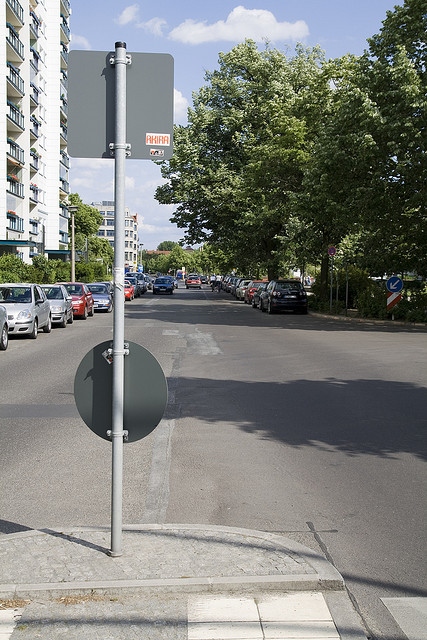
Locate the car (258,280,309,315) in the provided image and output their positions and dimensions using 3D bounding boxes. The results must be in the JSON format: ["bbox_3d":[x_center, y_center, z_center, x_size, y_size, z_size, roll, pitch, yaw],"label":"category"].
[{"bbox_3d":[3.759,-1.253,35.117,2.100,1.848,3.350,1,5,-3],"label":"car"}]

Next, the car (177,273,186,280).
[{"bbox_3d":[-8.706,-11.364,171.545,1.600,1.494,1.094,-2,10,-6],"label":"car"}]

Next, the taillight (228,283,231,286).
[{"bbox_3d":[1.760,-3.951,73.252,0.256,0.433,0.269,-1,2,23],"label":"taillight"}]

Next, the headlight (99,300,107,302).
[{"bbox_3d":[-5.850,-1.015,34.957,0.353,0.099,0.103,-2,6,-28],"label":"headlight"}]

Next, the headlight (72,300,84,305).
[{"bbox_3d":[-5.987,-0.788,29.084,0.427,0.186,0.284,1,5,-1],"label":"headlight"}]

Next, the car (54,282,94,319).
[{"bbox_3d":[-6.215,-0.900,30.073,1.031,0.969,2.189,-1,-2,-1],"label":"car"}]

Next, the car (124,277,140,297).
[{"bbox_3d":[-7.060,-2.973,56.689,1.221,1.041,2.069,0,-2,-1],"label":"car"}]

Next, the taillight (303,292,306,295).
[{"bbox_3d":[4.771,-1.401,34.531,0.105,0.125,0.117,2,-5,-2],"label":"taillight"}]

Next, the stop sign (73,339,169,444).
[{"bbox_3d":[-0.458,0.351,3.387,0.479,0.504,0.118,-2,5,5],"label":"stop sign"}]

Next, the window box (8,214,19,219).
[{"bbox_3d":[-15.922,-8.222,52.176,0.812,0.224,0.812,3,-1,8],"label":"window box"}]

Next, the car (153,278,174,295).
[{"bbox_3d":[-5.042,-3.374,65.691,1.829,1.592,2.530,0,5,-5],"label":"car"}]

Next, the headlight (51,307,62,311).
[{"bbox_3d":[-5.581,-0.388,23.454,0.409,0.115,0.151,-2,6,-32],"label":"headlight"}]

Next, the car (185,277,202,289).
[{"bbox_3d":[-2.986,-5.718,101.024,2.247,1.643,3.481,0,5,-5],"label":"car"}]

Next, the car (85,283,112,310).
[{"bbox_3d":[-6.046,-1.190,34.497,1.504,1.282,3.681,0,-1,-7],"label":"car"}]

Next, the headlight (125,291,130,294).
[{"bbox_3d":[-6.192,-1.984,47.397,0.167,0.191,0.359,2,5,11],"label":"headlight"}]

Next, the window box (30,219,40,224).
[{"bbox_3d":[-17.567,-9.699,64.652,0.995,0.246,1.017,4,1,13],"label":"window box"}]

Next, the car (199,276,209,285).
[{"bbox_3d":[-1.940,-9.229,152.039,1.730,1.491,3.961,2,7,6],"label":"car"}]

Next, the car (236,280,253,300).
[{"bbox_3d":[2.426,-2.347,51.436,1.657,1.599,3.080,0,9,1],"label":"car"}]

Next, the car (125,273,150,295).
[{"bbox_3d":[-7.832,-3.812,67.654,2.024,1.560,3.878,0,-1,-4],"label":"car"}]

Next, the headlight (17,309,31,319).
[{"bbox_3d":[-5.325,-0.167,18.503,0.161,0.250,0.396,3,6,29],"label":"headlight"}]

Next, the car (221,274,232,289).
[{"bbox_3d":[1.219,-5.428,90.882,1.427,1.479,2.509,-1,-1,-31],"label":"car"}]

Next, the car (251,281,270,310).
[{"bbox_3d":[2.947,-1.493,40.776,1.015,0.960,1.804,0,7,-2],"label":"car"}]

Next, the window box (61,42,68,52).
[{"bbox_3d":[-17.644,-32.076,77.194,0.392,1.136,0.796,-14,28,-6],"label":"window box"}]
